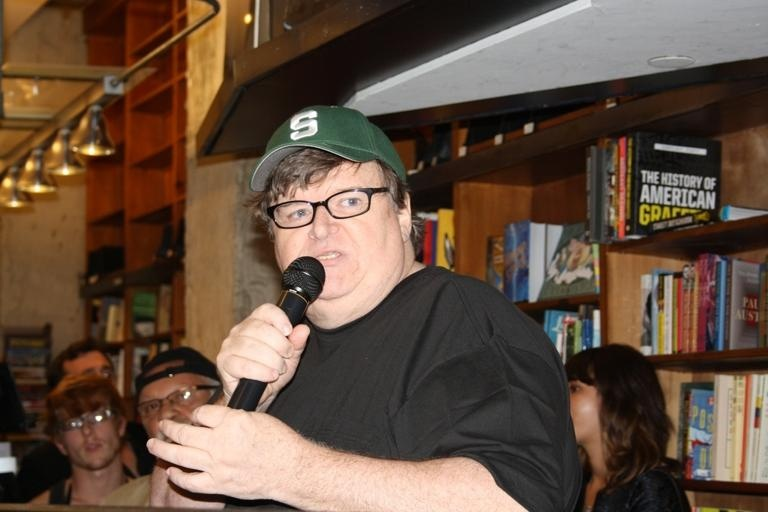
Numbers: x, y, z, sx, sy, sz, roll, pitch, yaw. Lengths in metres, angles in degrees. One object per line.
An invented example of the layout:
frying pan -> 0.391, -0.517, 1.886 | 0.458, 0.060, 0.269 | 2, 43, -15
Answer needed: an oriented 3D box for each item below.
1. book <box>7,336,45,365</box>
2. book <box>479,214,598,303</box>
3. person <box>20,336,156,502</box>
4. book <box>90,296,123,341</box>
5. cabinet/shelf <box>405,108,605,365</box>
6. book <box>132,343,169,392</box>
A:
book -> -2.024, 0.523, 4.578 | 0.025, 0.129, 0.186 | 16, 8, 40
book -> 0.764, 0.024, 3.949 | 0.173, 0.336, 0.401 | 13, -13, -31
person -> -1.910, 0.848, 4.947 | 0.579, 1.112, 0.343 | 15, 32, -21
book -> -1.678, 0.365, 4.885 | 0.150, 0.272, 0.287 | 0, -3, 7
cabinet/shelf -> 0.577, -0.109, 3.603 | 0.363, 0.995, 1.061 | 4, -11, -31
book -> -1.324, 0.632, 4.584 | 0.036, 0.365, 0.201 | 24, -46, -6
